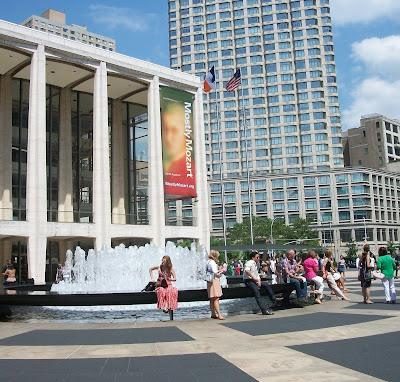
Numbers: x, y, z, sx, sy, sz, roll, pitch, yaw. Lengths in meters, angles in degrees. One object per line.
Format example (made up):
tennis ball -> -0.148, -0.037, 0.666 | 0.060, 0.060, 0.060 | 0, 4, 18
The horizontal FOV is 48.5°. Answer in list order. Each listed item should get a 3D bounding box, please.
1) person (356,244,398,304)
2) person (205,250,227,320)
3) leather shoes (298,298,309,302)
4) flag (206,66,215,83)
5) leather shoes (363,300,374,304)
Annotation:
person -> 5.719, 2.662, 14.266 | 1.107, 1.851, 1.351 | -6, -9, 14
person -> 0.424, 2.527, 12.065 | 0.443, 1.813, 0.775 | -4, -9, 1
leather shoes -> 3.429, 3.594, 14.591 | 0.328, 0.133, 0.234 | -5, -8, 10
flag -> 0.973, -10.318, 39.364 | 0.736, 1.732, 1.854 | -4, -8, 1
leather shoes -> 5.407, 3.526, 14.135 | 0.339, 0.130, 0.108 | 0, -2, -30
